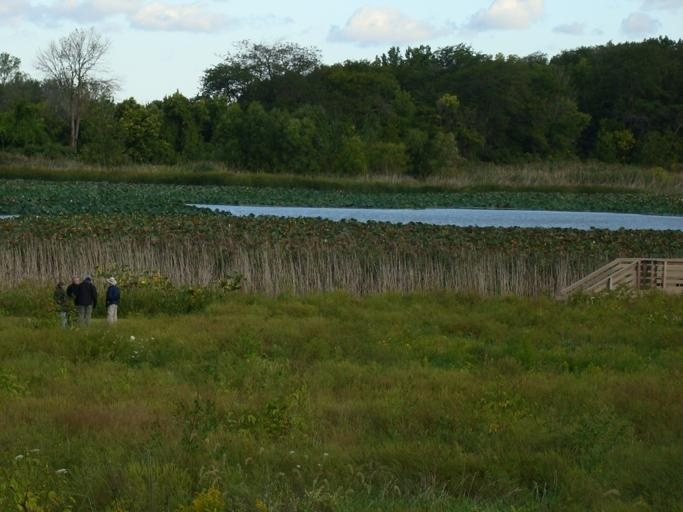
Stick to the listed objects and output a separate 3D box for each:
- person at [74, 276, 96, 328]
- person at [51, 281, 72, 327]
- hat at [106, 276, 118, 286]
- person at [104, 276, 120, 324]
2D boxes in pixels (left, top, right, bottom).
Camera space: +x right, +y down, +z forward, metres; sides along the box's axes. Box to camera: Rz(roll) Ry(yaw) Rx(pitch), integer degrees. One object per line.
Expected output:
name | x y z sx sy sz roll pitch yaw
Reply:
person | -11.913 2.109 66.177 0.949 2.231 0.399 1 4 -12
person | -13.006 2.258 66.016 0.743 2.038 0.793 1 4 -12
hat | -10.656 1.166 66.300 0.431 0.133 0.451 30 -23 4
person | -10.757 2.106 66.704 0.653 2.108 1.484 1 4 -10
